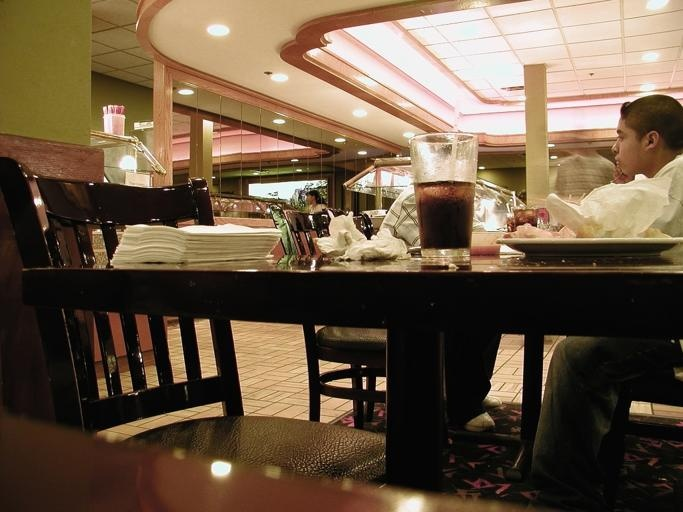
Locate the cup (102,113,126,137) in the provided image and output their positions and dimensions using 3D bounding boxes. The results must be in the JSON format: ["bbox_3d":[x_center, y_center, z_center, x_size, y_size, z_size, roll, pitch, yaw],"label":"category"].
[{"bbox_3d":[-1.963,-1.131,4.214,0.147,0.196,0.229,-5,8,-27],"label":"cup"}]
